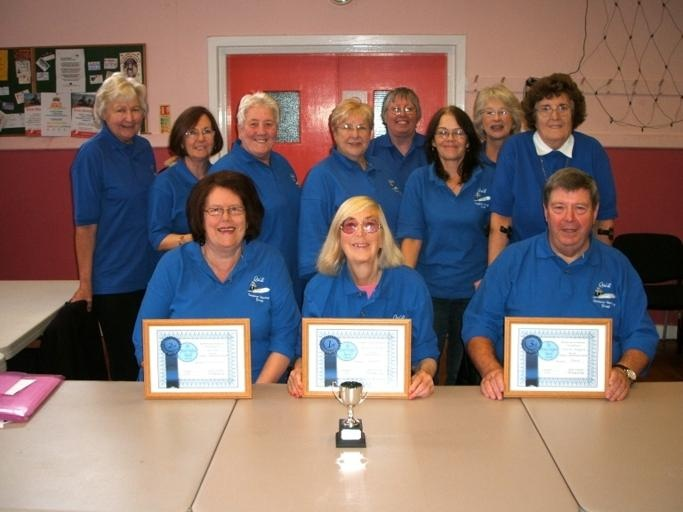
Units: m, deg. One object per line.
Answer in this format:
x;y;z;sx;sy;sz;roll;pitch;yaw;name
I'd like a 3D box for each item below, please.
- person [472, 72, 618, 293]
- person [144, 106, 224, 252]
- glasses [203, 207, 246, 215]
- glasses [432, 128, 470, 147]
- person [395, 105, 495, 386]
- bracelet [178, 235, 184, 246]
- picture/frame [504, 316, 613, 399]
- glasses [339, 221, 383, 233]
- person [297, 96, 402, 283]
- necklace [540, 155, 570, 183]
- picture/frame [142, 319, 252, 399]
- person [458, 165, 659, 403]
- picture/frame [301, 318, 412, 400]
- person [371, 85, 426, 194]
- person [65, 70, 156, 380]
1.111;-0.198;3.288;0.763;1.518;0.550;-3;19;2;person
-0.912;-0.448;3.439;0.414;0.847;0.353;-2;20;-16;person
-0.522;-0.201;2.665;0.170;0.035;0.045;-1;9;-14;glasses
0.621;-0.685;3.406;0.178;0.083;0.048;1;9;4;glasses
0.669;0.086;3.523;0.704;1.821;0.516;-3;13;7;person
-0.879;-0.092;3.296;0.023;0.060;0.050;7;-4;-16;bracelet
0.834;0.389;2.351;0.403;0.318;0.031;0;3;4;picture/frame
0.079;-0.125;2.632;0.168;0.057;0.040;2;9;5;glasses
0.032;-0.449;3.548;0.575;1.099;0.511;0;16;-3;person
1.053;-0.433;2.958;0.113;0.187;0.051;4;14;16;necklace
-0.567;0.392;2.337;0.445;0.308;0.241;-4;14;-24;picture/frame
0.964;0.154;2.644;0.837;1.049;0.750;2;-9;22;person
0.055;0.396;2.341;0.426;0.310;0.037;-1;-6;7;picture/frame
0.376;-0.747;4.053;0.360;0.760;0.343;2;17;3;person
-1.323;-0.214;3.508;0.471;1.941;0.443;-2;15;-23;person
